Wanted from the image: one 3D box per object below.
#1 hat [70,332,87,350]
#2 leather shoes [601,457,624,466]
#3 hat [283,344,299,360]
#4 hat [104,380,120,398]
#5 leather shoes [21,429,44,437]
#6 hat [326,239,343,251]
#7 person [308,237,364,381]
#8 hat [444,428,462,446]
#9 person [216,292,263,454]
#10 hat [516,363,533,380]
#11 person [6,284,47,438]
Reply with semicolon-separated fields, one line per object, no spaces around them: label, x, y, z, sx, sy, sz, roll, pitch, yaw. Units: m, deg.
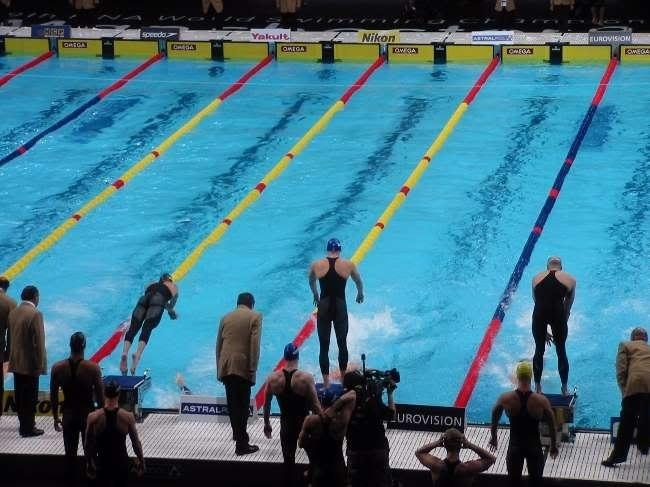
hat;-2.514;1.002;7.501;0.141;0.220;0.206;-4;12;-20
leather shoes;2.924;2.213;7.539;0.220;0.085;0.094;2;11;8
hat;-0.341;1.088;7.431;0.157;0.157;0.163;1;23;3
hat;-1.968;1.344;6.881;0.155;0.165;0.175;1;12;-5
leather shoes;-3.238;2.085;8.221;0.243;0.092;0.076;-3;21;-13
hat;0.104;0.028;9.034;0.144;0.159;0.174;3;11;2
person;0.075;0.867;9.062;0.597;1.812;0.781;4;12;17
hat;1.099;1.680;6.473;0.130;0.142;0.150;2;30;3
person;-0.925;1.395;8.053;0.482;1.602;0.765;-2;12;-15
hat;1.846;1.180;6.900;0.137;0.154;0.152;5;29;10
person;-3.288;1.301;8.149;0.378;1.638;0.381;-4;13;-21
